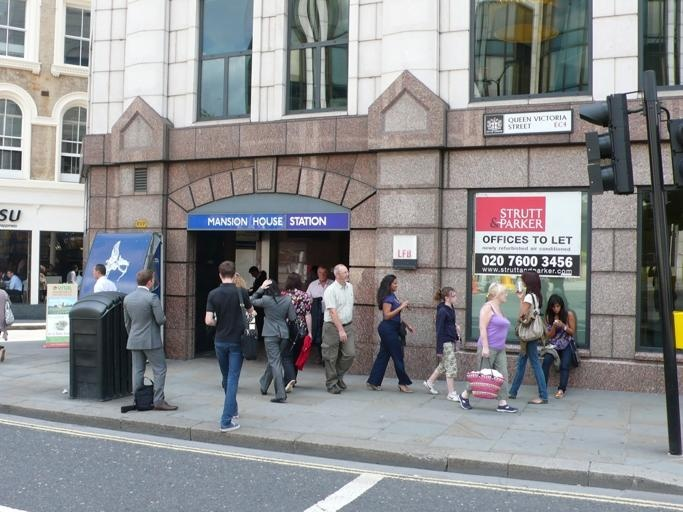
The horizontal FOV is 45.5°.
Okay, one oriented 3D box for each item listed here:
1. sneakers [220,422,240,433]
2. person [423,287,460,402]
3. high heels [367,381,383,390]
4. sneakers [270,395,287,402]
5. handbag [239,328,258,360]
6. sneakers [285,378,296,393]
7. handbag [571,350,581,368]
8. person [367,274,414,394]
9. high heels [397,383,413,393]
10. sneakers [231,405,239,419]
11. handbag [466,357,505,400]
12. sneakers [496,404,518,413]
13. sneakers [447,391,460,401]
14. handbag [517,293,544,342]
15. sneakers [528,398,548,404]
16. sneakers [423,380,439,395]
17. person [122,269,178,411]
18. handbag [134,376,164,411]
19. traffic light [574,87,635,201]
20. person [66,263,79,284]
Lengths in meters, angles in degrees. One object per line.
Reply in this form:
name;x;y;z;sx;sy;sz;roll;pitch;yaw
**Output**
sneakers;-1.569;2.411;11.555;0.106;0.121;0.269;5;7;39
person;1.670;1.446;13.509;0.586;1.859;0.706;1;9;8
high heels;0.570;2.236;14.086;0.289;0.125;0.107;0;1;21
sneakers;-1.014;2.282;13.121;0.260;0.112;0.094;2;1;27
handbag;-1.357;1.294;12.007;0.200;0.513;0.554;0;9;-1
sneakers;-0.872;2.205;13.807;0.108;0.132;0.310;10;-43;-18
handbag;3.960;1.736;13.810;0.148;0.318;0.319;-5;-2;15
person;0.828;1.322;13.918;0.761;2.003;0.474;1;9;5
high heels;1.058;2.248;14.017;0.308;0.161;0.106;-5;-2;33
sneakers;-1.549;2.286;11.909;0.068;0.104;0.236;3;6;-3
handbag;2.252;1.904;12.623;0.692;0.971;0.568;1;-5;14
sneakers;2.585;2.369;12.730;0.327;0.142;0.131;0;-1;7
sneakers;1.856;2.298;13.414;0.240;0.115;0.091;13;30;-41
handbag;3.074;1.005;13.233;0.414;0.760;0.388;3;10;15
sneakers;3.180;2.338;13.208;0.298;0.085;0.113;3;-2;6
sneakers;1.529;2.260;13.906;0.147;0.130;0.354;-18;-27;13
person;-2.958;1.296;12.565;0.743;2.137;0.551;-2;10;-12
handbag;-3.003;2.165;12.733;0.453;0.464;0.298;-19;-1;-19
traffic light;3.576;-1.486;10.965;0.721;1.344;0.543;3;10;18
person;-9.449;0.631;28.618;0.367;0.867;0.433;21;21;38
